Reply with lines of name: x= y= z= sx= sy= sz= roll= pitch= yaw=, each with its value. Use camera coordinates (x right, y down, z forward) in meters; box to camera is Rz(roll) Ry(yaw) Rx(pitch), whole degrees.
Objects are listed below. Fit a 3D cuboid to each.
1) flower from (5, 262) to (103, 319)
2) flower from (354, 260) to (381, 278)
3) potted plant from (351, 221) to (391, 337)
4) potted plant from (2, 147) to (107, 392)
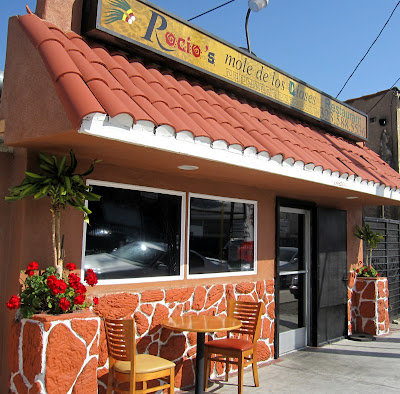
flower: x=-1.498 y=0.940 z=4.321 sx=0.835 sy=0.542 sz=0.706 roll=0 pitch=-9 yaw=-16
flower: x=4.020 y=1.792 z=10.176 sx=0.464 sy=0.324 sz=0.475 roll=-2 pitch=5 yaw=-14
potted plant: x=4.142 y=2.004 z=10.117 sx=0.842 sy=2.494 sz=0.919 roll=1 pitch=-15 yaw=-12
potted plant: x=-1.557 y=0.285 z=4.870 sx=1.193 sy=1.915 sz=1.346 roll=1 pitch=4 yaw=-22
